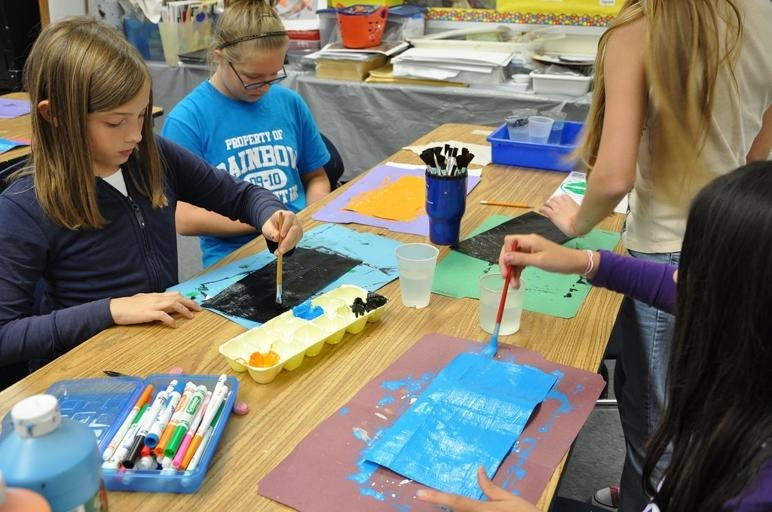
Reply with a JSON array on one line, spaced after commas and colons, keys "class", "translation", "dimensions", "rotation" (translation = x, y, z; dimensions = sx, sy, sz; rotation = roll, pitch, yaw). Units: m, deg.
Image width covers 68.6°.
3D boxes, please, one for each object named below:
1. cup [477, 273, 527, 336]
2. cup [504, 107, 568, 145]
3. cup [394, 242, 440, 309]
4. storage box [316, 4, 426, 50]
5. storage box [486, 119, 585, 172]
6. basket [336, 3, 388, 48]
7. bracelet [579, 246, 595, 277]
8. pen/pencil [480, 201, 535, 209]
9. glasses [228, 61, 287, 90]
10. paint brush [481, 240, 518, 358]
[{"class": "cup", "translation": [0.287, 0.138, 1.494], "dimensions": [0.150, 0.148, 0.142], "rotation": [-1, 1, 0]}, {"class": "cup", "translation": [0.617, -0.537, 2.420], "dimensions": [0.208, 0.144, 0.207], "rotation": [-1, 24, 0]}, {"class": "cup", "translation": [0.081, 0.060, 1.554], "dimensions": [0.130, 0.147, 0.124], "rotation": [1, 20, 0]}, {"class": "storage box", "translation": [-0.126, -1.553, 3.801], "dimensions": [0.546, 0.226, 0.396], "rotation": [11, 28, 24]}, {"class": "storage box", "translation": [0.604, -0.411, 2.329], "dimensions": [0.306, 0.090, 0.296], "rotation": [7, 27, 15]}, {"class": "basket", "translation": [-0.127, -1.423, 3.479], "dimensions": [0.312, 0.208, 0.254], "rotation": [16, 31, 34]}, {"class": "bracelet", "translation": [0.521, 0.020, 1.449], "dimensions": [0.022, 0.054, 0.047], "rotation": [9, -11, -20]}, {"class": "pen/pencil", "translation": [0.438, -0.183, 2.025], "dimensions": [0.212, 0.020, 0.021], "rotation": [3, 6, 5]}, {"class": "glasses", "translation": [-0.487, -0.671, 2.095], "dimensions": [0.128, 0.034, 0.126], "rotation": [-22, 60, -43]}, {"class": "paint brush", "translation": [0.289, 0.101, 1.425], "dimensions": [0.043, 0.321, 0.043], "rotation": [20, -3, -42]}]
